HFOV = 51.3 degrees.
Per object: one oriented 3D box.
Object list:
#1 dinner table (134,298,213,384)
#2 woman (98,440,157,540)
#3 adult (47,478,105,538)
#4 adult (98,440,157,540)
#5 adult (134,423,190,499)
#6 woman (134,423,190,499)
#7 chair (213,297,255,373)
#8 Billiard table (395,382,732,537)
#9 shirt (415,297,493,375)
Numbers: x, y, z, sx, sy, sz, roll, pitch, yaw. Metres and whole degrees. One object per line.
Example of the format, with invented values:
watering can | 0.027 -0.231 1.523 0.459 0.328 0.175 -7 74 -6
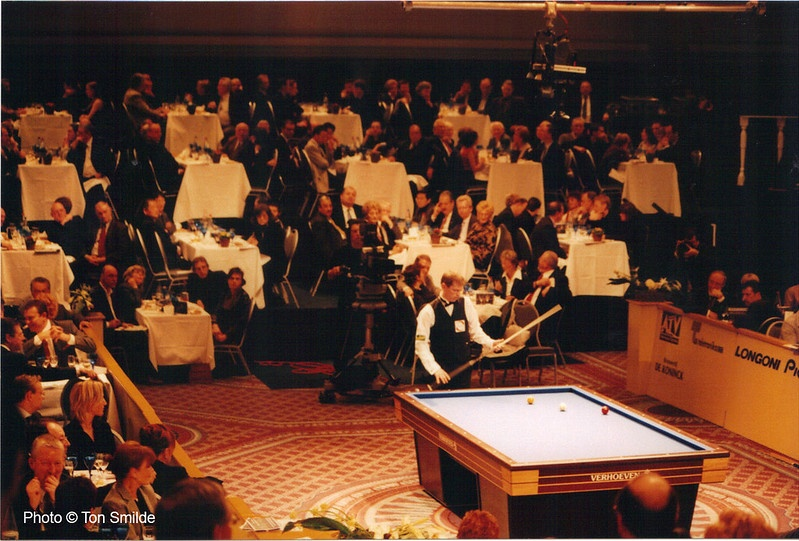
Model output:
dinner table | -2.880 0.961 10.905 0.710 0.658 1.130 -4 9 -21
woman | -2.507 2.031 7.736 0.471 0.754 0.627 -2 9 -12
adult | -3.014 2.232 7.855 0.647 0.551 0.342 3 9 20
adult | -2.510 2.030 7.743 0.459 0.754 0.631 -1 9 -9
adult | -2.277 1.821 7.887 0.632 0.596 0.338 -4 15 17
woman | -2.277 1.821 7.887 0.632 0.596 0.338 -4 15 17
chair | -2.277 0.888 11.705 0.825 1.253 0.799 0 7 -12
Billiard table | 1.398 1.768 7.632 1.994 0.932 2.318 -4 9 -26
shirt | 0.594 0.773 9.621 0.809 0.788 0.436 -18 15 -28
